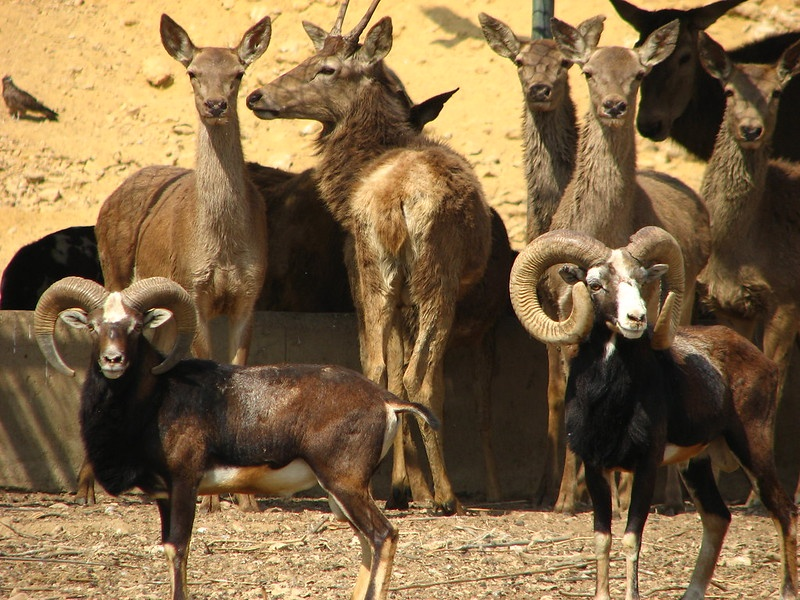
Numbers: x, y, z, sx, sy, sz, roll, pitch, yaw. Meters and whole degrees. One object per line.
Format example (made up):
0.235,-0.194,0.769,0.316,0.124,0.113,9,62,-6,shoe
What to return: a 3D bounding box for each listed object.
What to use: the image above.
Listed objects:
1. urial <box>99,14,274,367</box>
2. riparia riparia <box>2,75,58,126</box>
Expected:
-2.477,-0.990,19.964,1.416,4.525,5.210,-3,1,-16,urial
-6.177,-3.326,26.854,0.960,0.705,0.617,-5,6,-39,riparia riparia
